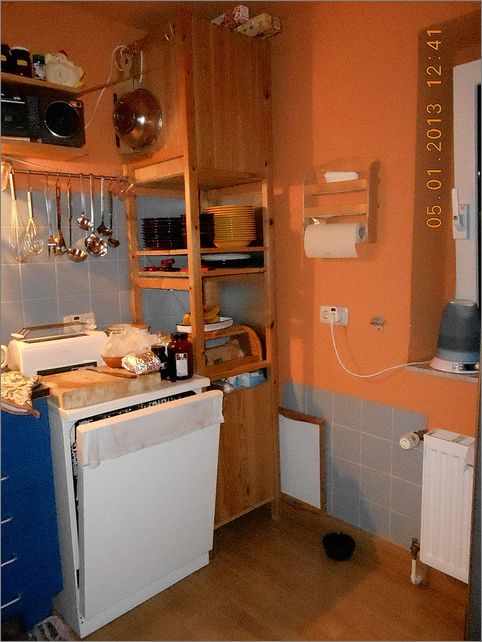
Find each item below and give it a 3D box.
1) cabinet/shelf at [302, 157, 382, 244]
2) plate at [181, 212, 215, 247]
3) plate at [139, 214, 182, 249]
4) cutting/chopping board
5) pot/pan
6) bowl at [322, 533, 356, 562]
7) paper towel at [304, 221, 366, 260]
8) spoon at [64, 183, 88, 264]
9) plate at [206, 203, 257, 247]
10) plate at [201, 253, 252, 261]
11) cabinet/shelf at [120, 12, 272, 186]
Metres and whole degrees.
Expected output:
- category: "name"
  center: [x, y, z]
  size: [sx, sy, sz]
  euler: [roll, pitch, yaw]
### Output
- category: "cabinet/shelf"
  center: [0.417, -0.481, 1.998]
  size: [0.107, 0.345, 0.328]
  euler: [-10, 16, -37]
- category: "plate"
  center: [-0.192, -0.373, 2.103]
  size: [0.137, 0.159, 0.144]
  euler: [-1, 6, -16]
- category: "plate"
  center: [-0.343, -0.384, 2.185]
  size: [0.216, 0.142, 0.100]
  euler: [0, 6, 11]
- category: "cutting/chopping board"
  center: [-0.501, 0.217, 1.725]
  size: [0.286, 0.064, 0.378]
  euler: [5, 8, 43]
- category: "pot/pan"
  center: [-0.422, -0.837, 2.096]
  size: [0.235, 0.285, 0.096]
  euler: [7, 8, 33]
- category: "bowl"
  center: [0.420, 0.957, 2.124]
  size: [0.136, 0.071, 0.157]
  euler: [1, 6, 20]
- category: "paper towel"
  center: [0.372, -0.329, 2.000]
  size: [0.095, 0.142, 0.283]
  euler: [-5, 7, -39]
- category: "spoon"
  center: [-0.759, -0.426, 2.236]
  size: [0.079, 0.325, 0.173]
  euler: [-1, 5, 0]
- category: "plate"
  center: [-0.030, -0.411, 2.158]
  size: [0.176, 0.138, 0.188]
  euler: [-4, 10, -11]
- category: "plate"
  center: [-0.063, -0.282, 2.179]
  size: [0.244, 0.031, 0.112]
  euler: [-3, 6, -19]
- category: "cabinet/shelf"
  center: [-0.174, -0.759, 2.287]
  size: [0.515, 0.799, 0.754]
  euler: [-7, 8, -36]
